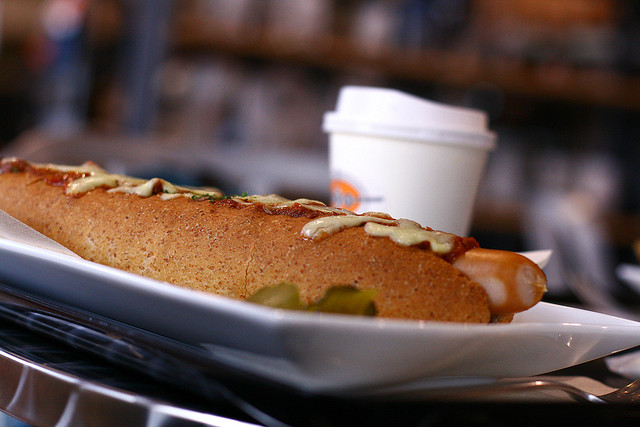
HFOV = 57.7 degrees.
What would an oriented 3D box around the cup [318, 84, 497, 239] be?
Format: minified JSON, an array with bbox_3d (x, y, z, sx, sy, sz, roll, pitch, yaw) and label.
[{"bbox_3d":[0.180,-0.075,1.160,0.370,0.361,0.270,13,96,27],"label":"cup"}]

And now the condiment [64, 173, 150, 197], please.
[{"bbox_3d":[-0.350,-0.057,0.956,0.083,0.152,0.035,11,104,46],"label":"condiment"}]

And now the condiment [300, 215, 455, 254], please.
[{"bbox_3d":[0.084,0.004,0.786,0.230,0.128,0.044,1,100,21],"label":"condiment"}]
